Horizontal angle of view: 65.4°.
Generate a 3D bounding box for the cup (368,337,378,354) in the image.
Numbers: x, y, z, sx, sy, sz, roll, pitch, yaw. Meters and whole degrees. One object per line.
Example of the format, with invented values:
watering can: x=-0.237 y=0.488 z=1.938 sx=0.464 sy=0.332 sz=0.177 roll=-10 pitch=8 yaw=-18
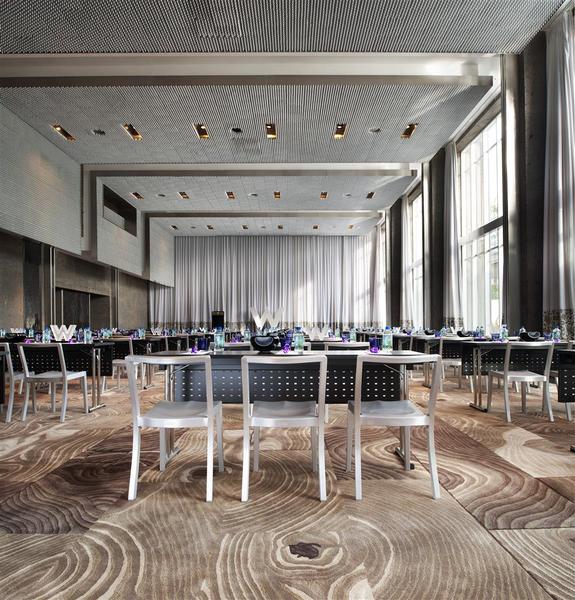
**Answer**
cup: x=0.598 y=0.311 z=3.082 sx=0.064 sy=0.106 sz=0.170 roll=-1 pitch=-3 yaw=12
